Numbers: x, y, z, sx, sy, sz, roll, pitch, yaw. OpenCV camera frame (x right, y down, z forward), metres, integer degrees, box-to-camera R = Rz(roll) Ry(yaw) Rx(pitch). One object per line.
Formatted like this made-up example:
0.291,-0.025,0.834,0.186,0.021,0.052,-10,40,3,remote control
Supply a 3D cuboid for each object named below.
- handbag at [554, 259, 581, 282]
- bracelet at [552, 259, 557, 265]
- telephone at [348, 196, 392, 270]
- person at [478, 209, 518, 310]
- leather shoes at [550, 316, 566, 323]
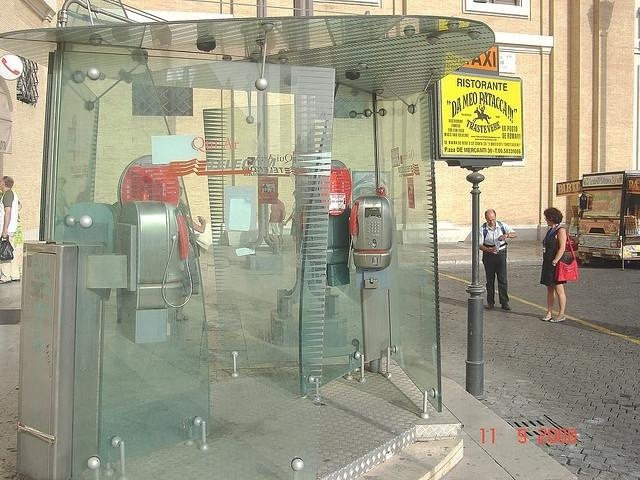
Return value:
4.237,0.538,9.925,0.258,0.372,0.524,2,7,39,handbag
3.948,0.383,9.800,0.069,0.088,0.206,-6,-6,13,bracelet
0.540,-0.063,5.958,0.455,0.718,0.427,0,-5,-11,telephone
3.387,0.391,11.163,0.607,1.951,0.845,-1,5,15,person
4.143,1.386,10.095,0.249,0.068,0.097,3,-5,-29,leather shoes
